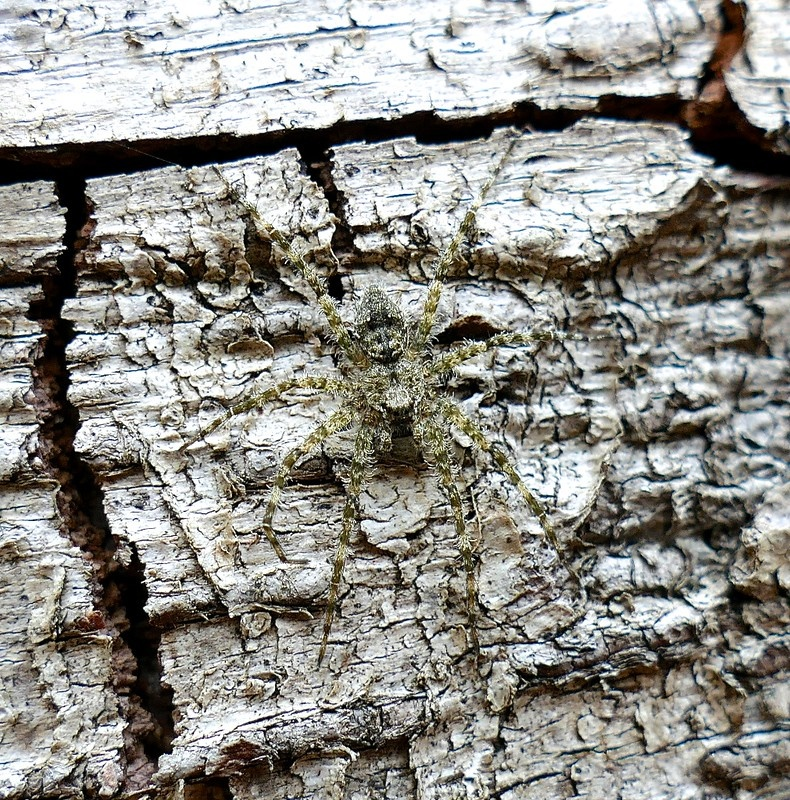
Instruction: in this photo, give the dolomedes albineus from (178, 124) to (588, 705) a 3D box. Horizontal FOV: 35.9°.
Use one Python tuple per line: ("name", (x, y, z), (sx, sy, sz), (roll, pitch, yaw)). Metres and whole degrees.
("dolomedes albineus", (-0.073, 0.103, 5.663), (2.846, 0.589, 2.540), (-1, 95, -1))
